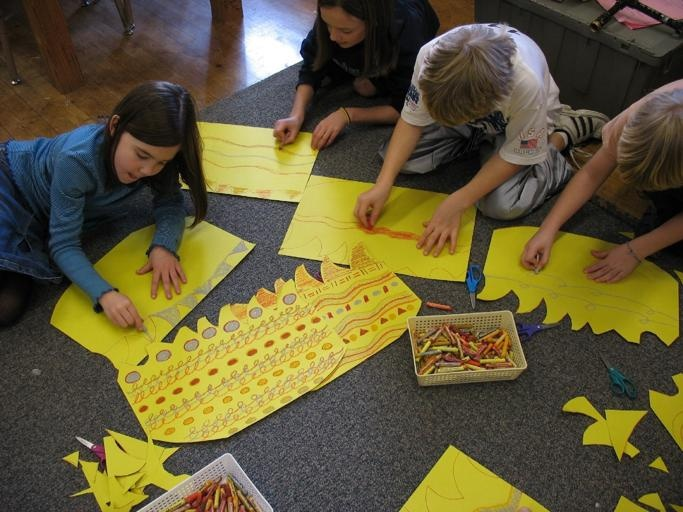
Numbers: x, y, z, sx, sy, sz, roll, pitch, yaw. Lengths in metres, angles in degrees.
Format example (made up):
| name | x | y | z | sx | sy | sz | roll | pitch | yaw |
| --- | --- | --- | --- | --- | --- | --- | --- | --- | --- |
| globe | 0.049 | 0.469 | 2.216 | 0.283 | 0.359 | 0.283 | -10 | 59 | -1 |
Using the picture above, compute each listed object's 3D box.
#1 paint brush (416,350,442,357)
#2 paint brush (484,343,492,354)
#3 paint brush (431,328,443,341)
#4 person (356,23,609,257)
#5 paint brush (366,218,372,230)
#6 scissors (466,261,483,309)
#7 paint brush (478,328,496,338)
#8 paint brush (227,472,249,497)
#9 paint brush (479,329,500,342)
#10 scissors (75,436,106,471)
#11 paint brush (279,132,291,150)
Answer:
| name | x | y | z | sx | sy | sz | roll | pitch | yaw |
| --- | --- | --- | --- | --- | --- | --- | --- | --- | --- |
| paint brush | 0.284 | 0.313 | 1.625 | 0.073 | 0.020 | 0.017 | -10 | 71 | -2 |
| paint brush | 0.474 | 0.299 | 1.649 | 0.013 | 0.008 | 0.040 | 40 | 71 | 12 |
| paint brush | 0.316 | 0.257 | 1.676 | 0.019 | 0.013 | 0.074 | 19 | 33 | 24 |
| person | 0.536 | -0.407 | 1.918 | 0.718 | 0.440 | 0.471 | -49 | 57 | -3 |
| paint brush | 0.107 | -0.120 | 1.955 | 0.024 | 0.032 | 0.059 | -3 | 88 | 0 |
| scissors | 0.482 | 0.105 | 1.840 | 0.048 | 0.039 | 0.168 | 23 | 58 | -24 |
| paint brush | 0.483 | 0.255 | 1.692 | 0.041 | 0.010 | 0.012 | -30 | 81 | -22 |
| paint brush | -0.298 | 0.649 | 1.451 | 0.025 | 0.033 | 0.099 | 4 | 35 | -45 |
| paint brush | 0.492 | 0.260 | 1.679 | 0.040 | 0.010 | 0.042 | -1 | 35 | 31 |
| scissors | -0.750 | 0.585 | 1.538 | 0.131 | 0.037 | 0.047 | 42 | 18 | 20 |
| paint brush | -0.249 | -0.504 | 2.218 | 0.042 | 0.084 | 0.039 | 3 | 29 | -8 |
